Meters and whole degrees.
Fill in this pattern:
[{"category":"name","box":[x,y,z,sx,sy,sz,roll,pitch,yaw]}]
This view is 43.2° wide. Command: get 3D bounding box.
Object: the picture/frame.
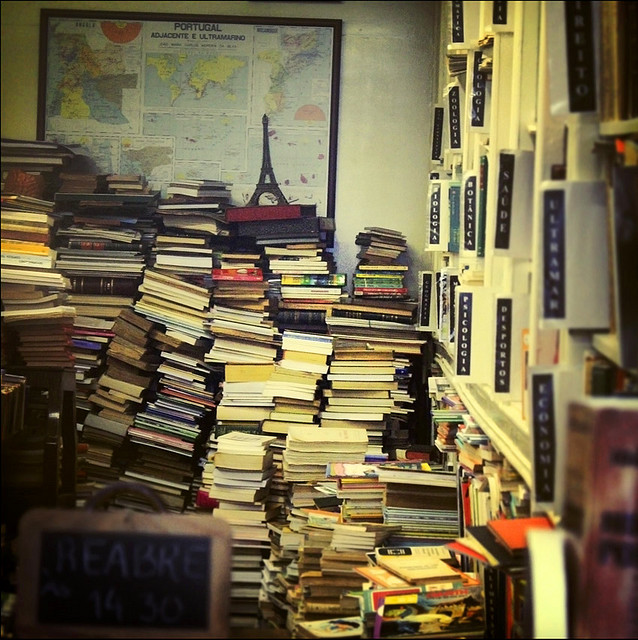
[{"category":"picture/frame","box":[-0.790,-1.302,5.361,1.981,1.648,0.433,4,2,3]}]
